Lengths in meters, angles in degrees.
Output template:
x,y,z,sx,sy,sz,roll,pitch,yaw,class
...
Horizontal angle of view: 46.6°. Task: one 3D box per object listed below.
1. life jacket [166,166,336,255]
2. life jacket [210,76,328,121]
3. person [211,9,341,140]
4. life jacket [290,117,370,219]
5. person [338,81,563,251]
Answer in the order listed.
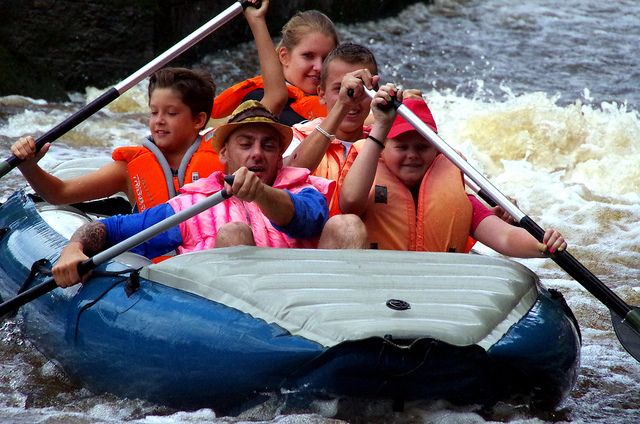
x,y,z,sx,sy,sz,roll,pitch,yaw,class
-0.370,-0.022,3.963,0.890,0.366,0.947,-16,-12,37,life jacket
-0.364,-0.775,5.115,0.763,0.313,0.346,-7,14,-8,life jacket
-0.293,-0.884,5.275,0.941,0.401,1.015,-18,8,-33,person
0.083,-0.293,4.274,0.356,0.705,0.533,0,-2,-15,life jacket
0.578,-0.203,3.980,0.728,0.544,1.280,-7,17,-21,person
